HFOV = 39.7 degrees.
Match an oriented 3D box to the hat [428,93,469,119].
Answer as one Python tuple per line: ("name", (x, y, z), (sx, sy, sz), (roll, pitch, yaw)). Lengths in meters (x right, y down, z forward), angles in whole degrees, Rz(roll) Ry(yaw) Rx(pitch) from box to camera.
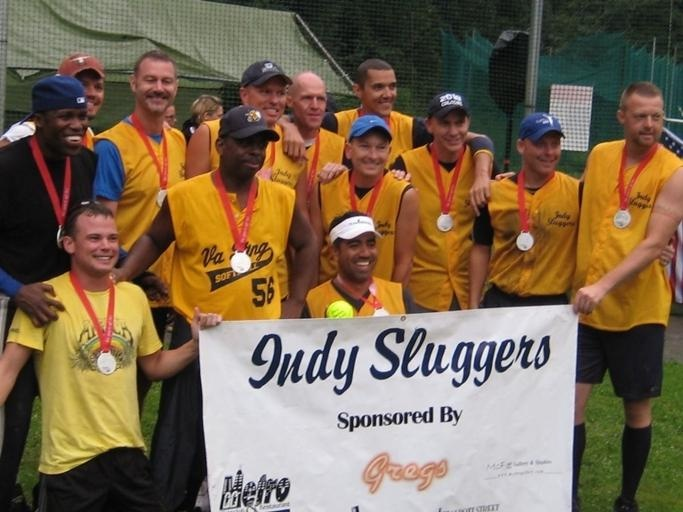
("hat", (0.954, -1.318, 8.435), (0.370, 0.234, 0.332), (4, 15, 8))

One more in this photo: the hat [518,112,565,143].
("hat", (1.664, -1.092, 8.087), (0.212, 0.189, 0.322), (-1, 6, -9))

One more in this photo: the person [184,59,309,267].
("person", (-0.637, -0.925, 8.671), (1.189, 2.231, 1.012), (3, 4, -39))

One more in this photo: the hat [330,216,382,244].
("hat", (0.106, -0.196, 7.456), (0.394, 0.240, 0.244), (2, 14, -1))

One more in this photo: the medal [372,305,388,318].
("medal", (0.311, 0.423, 7.393), (0.115, 0.078, 0.153), (4, 15, 7))

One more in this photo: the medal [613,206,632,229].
("medal", (2.315, -0.308, 7.791), (0.138, 0.163, 0.062), (6, 14, 17))

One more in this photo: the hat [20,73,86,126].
("hat", (-2.143, -1.176, 7.073), (0.341, 0.244, 0.260), (-27, -7, 28))

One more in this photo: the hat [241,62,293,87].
("hat", (-0.689, -1.540, 8.077), (0.227, 0.182, 0.309), (-9, 5, -37))

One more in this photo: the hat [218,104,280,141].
("hat", (-0.707, -0.978, 7.071), (0.328, 0.210, 0.257), (3, 8, 37))
